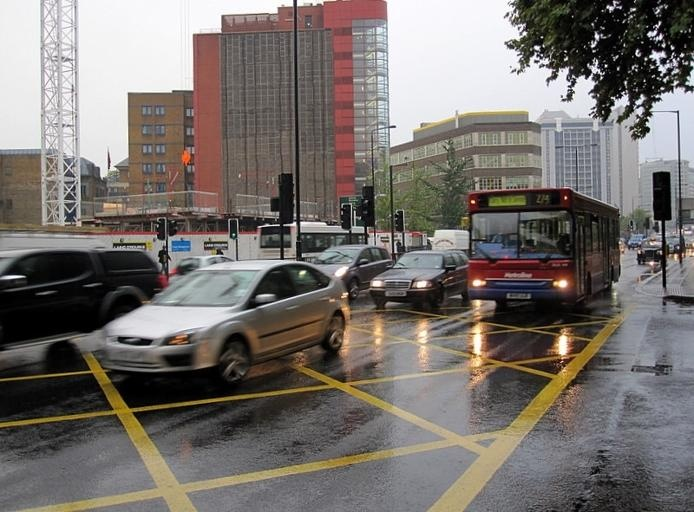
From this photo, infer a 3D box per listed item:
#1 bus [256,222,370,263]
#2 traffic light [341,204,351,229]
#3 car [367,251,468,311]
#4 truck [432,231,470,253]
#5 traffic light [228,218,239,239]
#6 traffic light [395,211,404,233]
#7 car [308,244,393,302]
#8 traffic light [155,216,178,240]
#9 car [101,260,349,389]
[{"bbox_3d":[-1.584,-0.896,40.178,2.258,2.085,7.074,-3,-3,39],"label":"bus"},{"bbox_3d":[-0.054,-1.651,28.567,0.355,0.979,1.029,0,5,5],"label":"traffic light"},{"bbox_3d":[2.336,0.580,19.136,1.342,0.994,3.072,-2,-3,26],"label":"car"},{"bbox_3d":[8.520,-0.990,54.733,1.899,2.480,5.494,1,6,22],"label":"truck"},{"bbox_3d":[-5.411,-1.279,32.263,0.378,0.953,0.866,-2,5,-16],"label":"traffic light"},{"bbox_3d":[2.670,-1.818,34.932,0.418,1.048,0.906,-1,5,-3],"label":"traffic light"},{"bbox_3d":[0.116,0.393,22.174,1.374,1.172,2.469,-2,-2,34],"label":"car"},{"bbox_3d":[-8.521,-1.314,31.806,1.134,1.414,0.965,0,-1,2],"label":"traffic light"},{"bbox_3d":[-1.829,0.974,10.697,1.569,1.683,3.845,3,6,36],"label":"car"}]
